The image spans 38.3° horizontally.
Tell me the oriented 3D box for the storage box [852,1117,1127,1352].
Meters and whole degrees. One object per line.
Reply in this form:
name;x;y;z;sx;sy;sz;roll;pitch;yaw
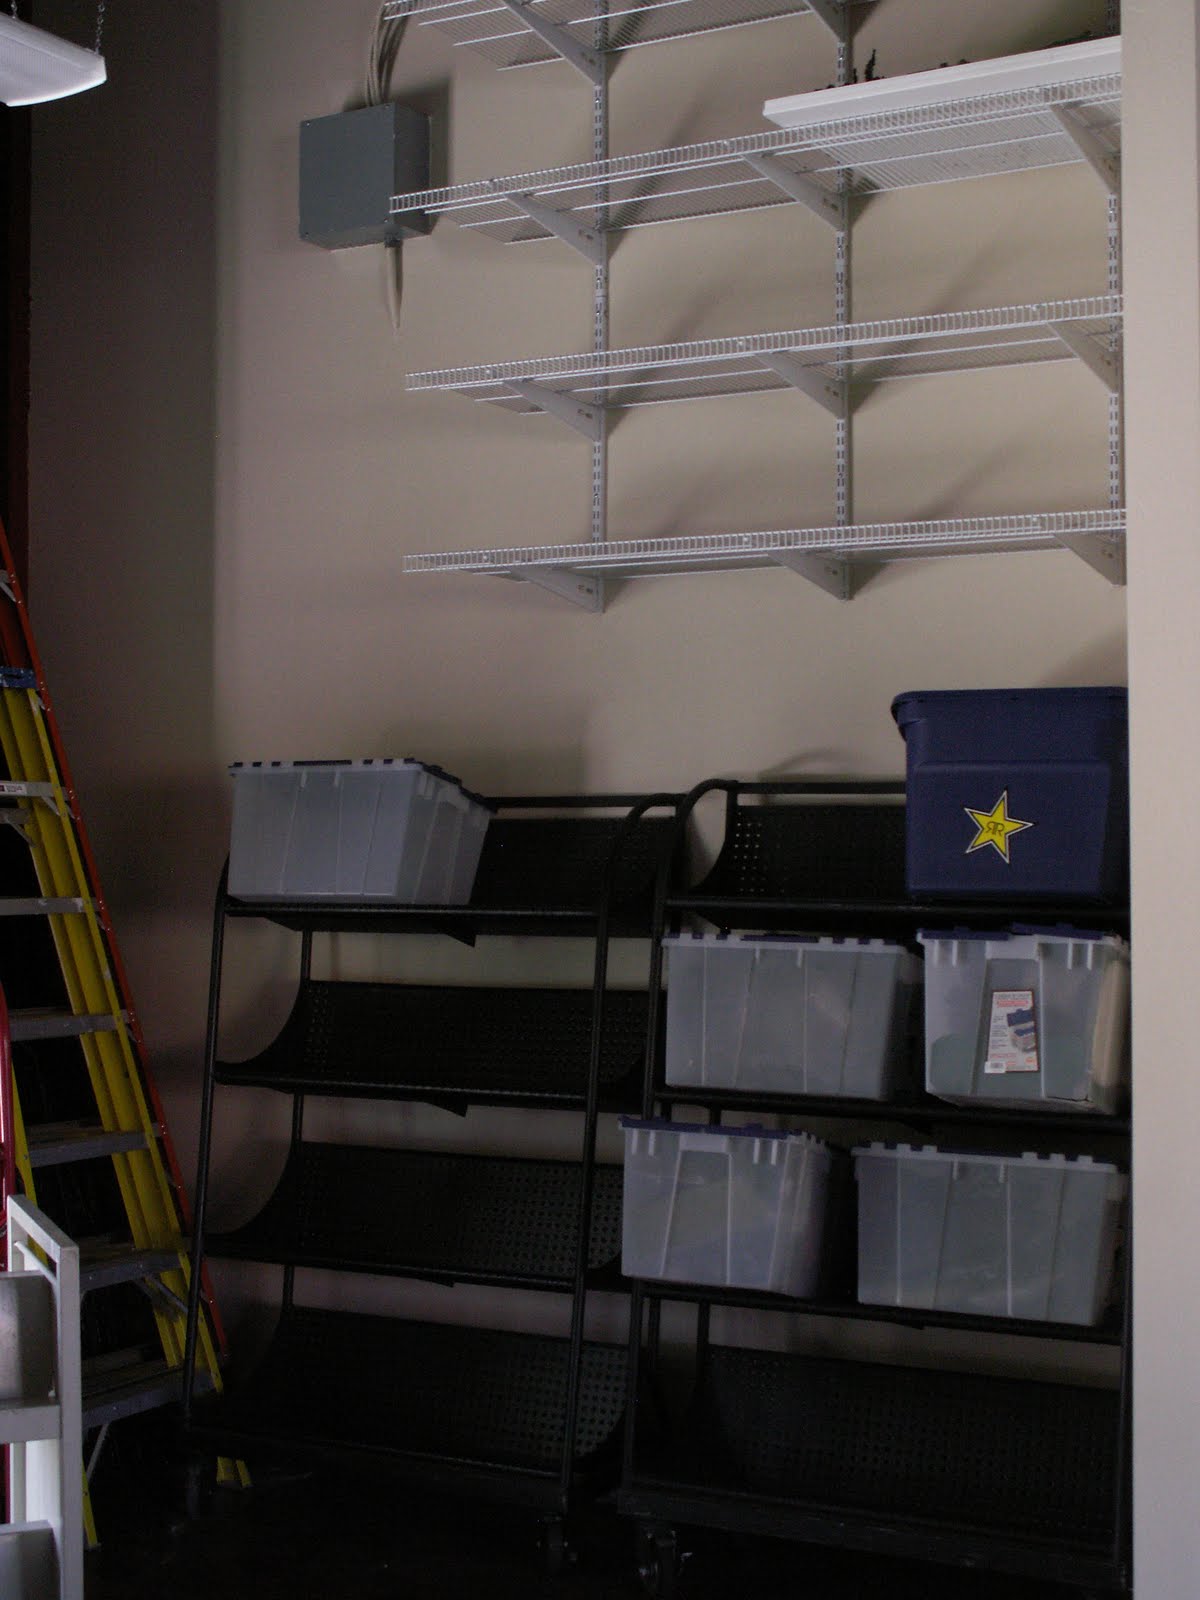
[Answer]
storage box;0.637;0.744;2.924;0.357;0.271;0.261;-1;-7;20

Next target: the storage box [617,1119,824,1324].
storage box;0.186;0.857;3.243;0.375;0.300;0.433;9;-41;-1

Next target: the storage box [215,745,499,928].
storage box;-0.529;0.093;3.671;0.327;0.247;0.366;0;-11;17

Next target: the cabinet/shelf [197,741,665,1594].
cabinet/shelf;-0.355;0.719;3.684;0.774;1.573;0.353;2;-1;12

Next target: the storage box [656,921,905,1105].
storage box;0.326;0.380;3.114;0.283;0.226;0.315;2;-9;17

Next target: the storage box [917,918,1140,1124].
storage box;0.697;0.348;2.973;0.331;0.341;0.303;1;12;13

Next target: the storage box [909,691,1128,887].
storage box;0.738;0.043;3.055;0.402;0.427;0.278;-3;-10;24
